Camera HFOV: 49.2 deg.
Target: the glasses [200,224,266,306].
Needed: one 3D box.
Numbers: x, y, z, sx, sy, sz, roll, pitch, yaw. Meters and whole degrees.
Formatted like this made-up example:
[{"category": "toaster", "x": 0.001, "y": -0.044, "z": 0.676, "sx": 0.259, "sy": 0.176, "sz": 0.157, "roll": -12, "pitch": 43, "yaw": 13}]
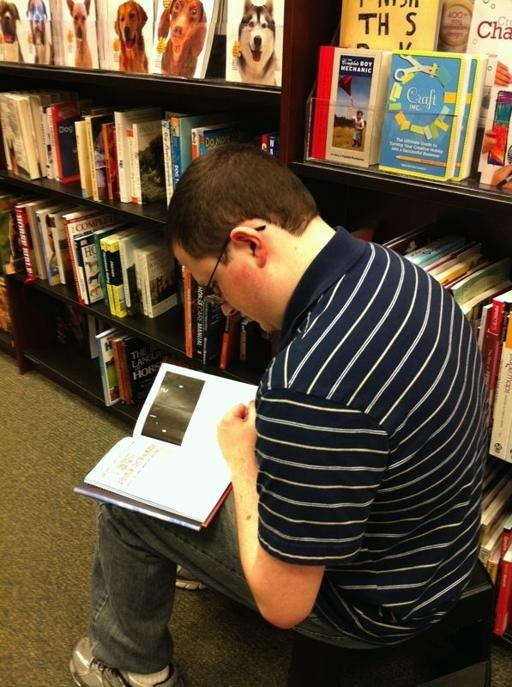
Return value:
[{"category": "glasses", "x": -0.010, "y": -0.095, "z": 0.710, "sx": 0.028, "sy": 0.091, "sz": 0.089, "roll": 31, "pitch": -4, "yaw": -17}]
